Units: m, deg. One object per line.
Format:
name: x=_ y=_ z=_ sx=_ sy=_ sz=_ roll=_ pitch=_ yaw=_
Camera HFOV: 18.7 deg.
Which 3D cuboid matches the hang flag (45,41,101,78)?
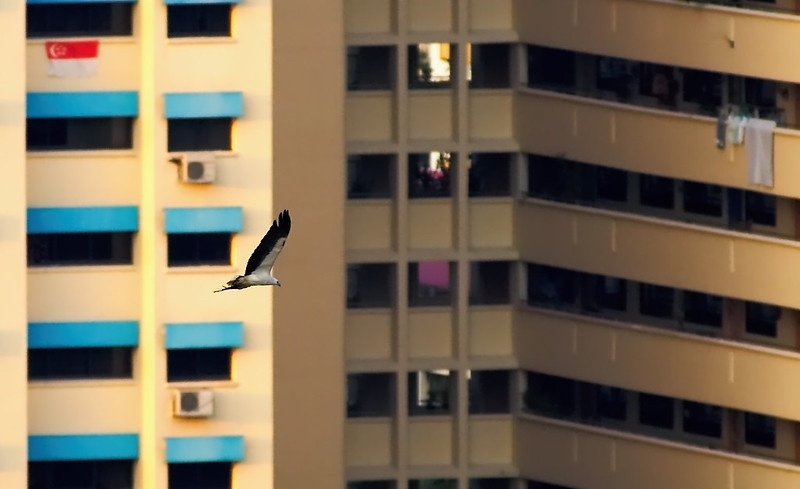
hang flag: x=-10.929 y=-6.092 z=81.568 sx=1.267 sy=0.857 sz=0.146 roll=-1 pitch=-1 yaw=-5
